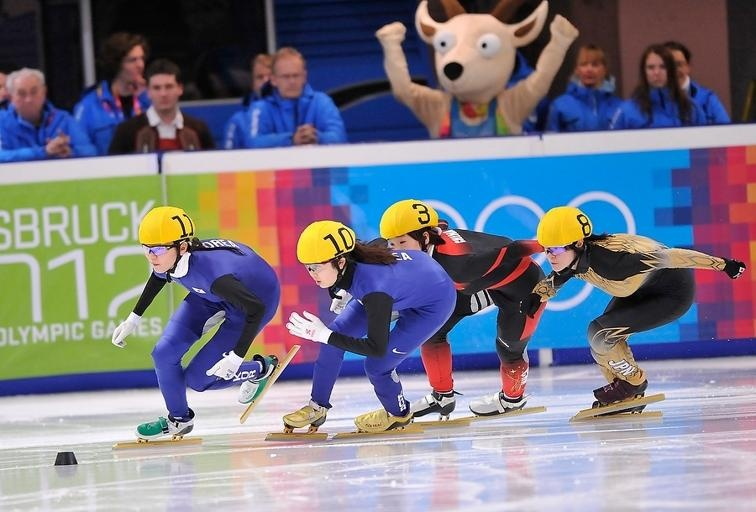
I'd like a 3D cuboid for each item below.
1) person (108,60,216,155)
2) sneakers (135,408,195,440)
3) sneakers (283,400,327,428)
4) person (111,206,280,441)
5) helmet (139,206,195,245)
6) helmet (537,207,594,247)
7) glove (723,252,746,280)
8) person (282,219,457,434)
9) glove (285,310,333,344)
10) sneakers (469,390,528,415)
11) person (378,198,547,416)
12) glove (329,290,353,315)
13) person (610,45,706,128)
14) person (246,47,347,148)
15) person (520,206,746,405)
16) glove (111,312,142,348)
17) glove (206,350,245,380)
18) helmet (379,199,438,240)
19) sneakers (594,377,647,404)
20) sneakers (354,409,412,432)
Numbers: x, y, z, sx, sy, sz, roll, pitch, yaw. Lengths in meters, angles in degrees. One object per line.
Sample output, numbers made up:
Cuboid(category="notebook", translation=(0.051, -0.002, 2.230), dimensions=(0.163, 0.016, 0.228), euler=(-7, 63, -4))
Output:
Cuboid(category="person", translation=(-1.858, -1.233, 8.692), dimensions=(1.031, 0.827, 0.464), euler=(-3, 8, -23))
Cuboid(category="sneakers", translation=(-1.479, 1.178, 7.079), dimensions=(0.429, 0.200, 0.178), euler=(0, 6, -10))
Cuboid(category="sneakers", translation=(-0.502, 1.108, 6.945), dimensions=(0.350, 0.184, 0.140), euler=(-3, 37, -20))
Cuboid(category="person", translation=(-1.306, 0.454, 7.124), dimensions=(1.242, 1.660, 0.872), euler=(-3, 19, -9))
Cuboid(category="helmet", translation=(-1.464, -0.215, 6.988), dimensions=(0.417, 0.266, 0.450), euler=(-3, -2, 19))
Cuboid(category="helmet", translation=(1.284, -0.212, 6.991), dimensions=(0.399, 0.254, 0.425), euler=(-8, 2, 16))
Cuboid(category="glove", translation=(2.404, 0.087, 6.837), dimensions=(0.147, 0.132, 0.093), euler=(-5, 11, -11))
Cuboid(category="person", translation=(-0.077, 0.507, 6.961), dimensions=(1.230, 1.519, 0.850), euler=(-3, 13, -10))
Cuboid(category="glove", translation=(-0.434, 0.422, 6.683), dimensions=(0.302, 0.090, 0.181), euler=(2, 34, 28))
Cuboid(category="sneakers", translation=(0.855, 1.072, 7.303), dimensions=(0.449, 0.189, 0.161), euler=(0, 7, -3))
Cuboid(category="person", translation=(0.602, 0.327, 7.281), dimensions=(1.157, 1.421, 0.729), euler=(-16, 40, -5))
Cuboid(category="glove", translation=(-0.280, 0.332, 7.058), dimensions=(0.085, 0.231, 0.098), euler=(33, 35, 12))
Cuboid(category="person", translation=(2.431, -1.446, 8.737), dimensions=(0.835, 0.699, 0.406), euler=(-10, 15, 4))
Cuboid(category="person", translation=(-0.697, -1.408, 8.771), dimensions=(0.896, 1.079, 0.864), euler=(-7, 15, -16))
Cuboid(category="person", translation=(1.713, 0.364, 7.043), dimensions=(1.249, 1.472, 0.349), euler=(-2, 11, 4))
Cuboid(category="glove", translation=(-1.937, 0.554, 7.714), dimensions=(0.119, 0.289, 0.178), euler=(30, 5, 16))
Cuboid(category="glove", translation=(-1.047, 0.762, 6.901), dimensions=(0.244, 0.243, 0.228), euler=(-6, 11, -15))
Cuboid(category="helmet", translation=(0.225, -0.274, 7.059), dimensions=(0.411, 0.240, 0.302), euler=(-5, 0, -38))
Cuboid(category="sneakers", translation=(1.674, 0.964, 7.160), dimensions=(0.416, 0.209, 0.158), euler=(-6, 1, 0))
Cuboid(category="sneakers", translation=(0.022, 1.142, 6.989), dimensions=(0.413, 0.170, 0.148), euler=(1, 4, -7))
